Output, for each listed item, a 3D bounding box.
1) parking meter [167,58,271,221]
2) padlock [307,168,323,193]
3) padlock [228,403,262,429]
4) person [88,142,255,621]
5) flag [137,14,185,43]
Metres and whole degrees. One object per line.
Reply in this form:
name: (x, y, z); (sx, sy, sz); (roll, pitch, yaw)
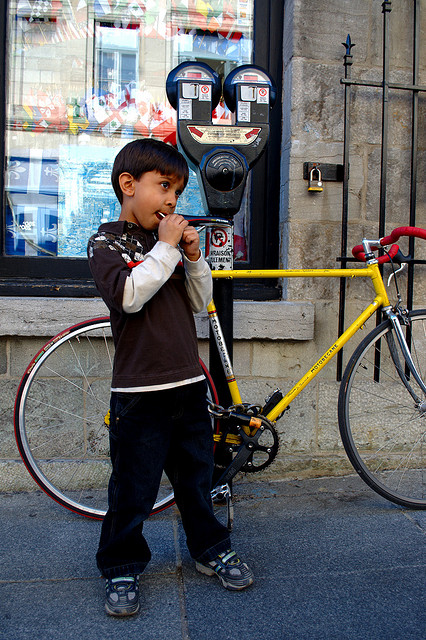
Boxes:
parking meter: (0.032, -0.654, 2.911); (0.409, 0.631, 0.283); (1, -13, -4)
padlock: (0.446, -0.614, 3.447); (0.073, 0.107, 0.053); (-1, 15, -4)
padlock: (0.115, 0.347, 2.843); (0.095, 0.092, 0.028); (9, -35, -9)
person: (-0.131, 0.169, 2.428); (0.498, 1.399, 0.431); (-2, 15, -10)
flag: (-0.254, -1.372, 3.673); (0.154, 0.085, 0.020); (2, 1, -6)
